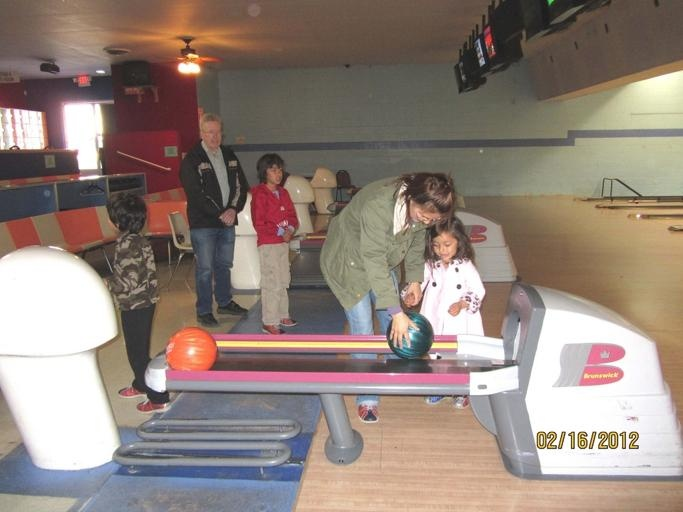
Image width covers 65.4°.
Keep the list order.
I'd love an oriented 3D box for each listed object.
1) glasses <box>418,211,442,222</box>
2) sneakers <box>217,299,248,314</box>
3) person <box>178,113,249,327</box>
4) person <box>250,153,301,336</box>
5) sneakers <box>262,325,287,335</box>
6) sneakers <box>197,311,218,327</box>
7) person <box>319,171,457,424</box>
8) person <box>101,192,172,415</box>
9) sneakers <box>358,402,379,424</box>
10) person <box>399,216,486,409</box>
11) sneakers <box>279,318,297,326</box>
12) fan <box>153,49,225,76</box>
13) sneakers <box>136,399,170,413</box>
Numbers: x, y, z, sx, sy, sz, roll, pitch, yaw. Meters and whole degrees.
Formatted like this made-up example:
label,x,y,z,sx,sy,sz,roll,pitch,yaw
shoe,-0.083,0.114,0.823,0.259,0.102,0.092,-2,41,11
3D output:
label,x,y,z,sx,sy,sz,roll,pitch,yaw
glasses,0.460,-0.189,2.766,0.120,0.072,0.078,-1,-10,26
sneakers,-0.980,0.456,4.822,0.308,0.131,0.113,1,4,2
person,-1.091,-0.311,4.569,0.399,1.758,0.650,4,15,25
person,-0.519,-0.098,4.271,0.360,1.435,0.513,-5,14,-9
sneakers,-0.539,0.581,4.225,0.170,0.066,0.083,2,9,9
sneakers,-1.137,0.529,4.493,0.185,0.076,0.092,6,9,31
person,0.274,0.245,3.101,0.668,1.470,0.724,-6,14,-13
person,-1.240,0.297,3.178,0.312,1.327,0.483,-9,15,-24
sneakers,0.162,0.938,3.176,0.079,0.061,0.146,0,-5,-3
person,0.666,0.301,3.410,0.470,1.012,0.371,-1,20,13
sneakers,-0.443,0.556,4.497,0.126,0.050,0.052,-2,10,13
fan,-3.121,-3.910,10.668,1.161,0.504,1.139,-2,17,-4
sneakers,-1.162,0.903,3.273,0.163,0.067,0.092,7,-6,1
